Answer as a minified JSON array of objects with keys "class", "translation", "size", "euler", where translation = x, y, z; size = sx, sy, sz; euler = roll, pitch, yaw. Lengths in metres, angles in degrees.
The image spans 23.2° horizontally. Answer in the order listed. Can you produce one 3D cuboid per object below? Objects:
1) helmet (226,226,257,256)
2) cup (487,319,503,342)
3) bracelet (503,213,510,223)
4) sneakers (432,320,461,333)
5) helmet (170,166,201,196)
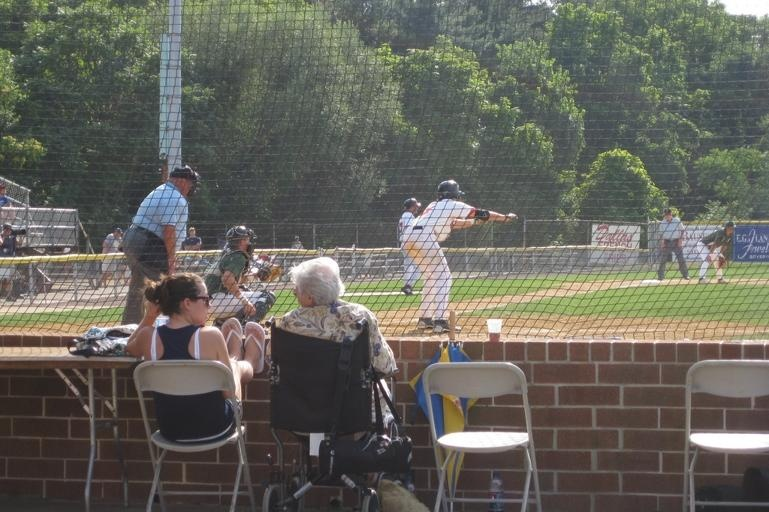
[{"class":"helmet","translation":[-1.529,-0.167,20.339],"size":[0.342,0.282,0.272],"euler":[-3,10,-45]},{"class":"cup","translation":[1.121,0.797,19.055],"size":[0.203,0.202,0.194],"euler":[1,-21,0]},{"class":"bracelet","translation":[1.327,-0.382,20.160],"size":[0.017,0.067,0.075],"euler":[9,-8,-33]},{"class":"sneakers","translation":[0.760,0.839,21.429],"size":[0.418,0.171,0.139],"euler":[-3,-4,22]},{"class":"helmet","translation":[-2.094,-0.799,19.719],"size":[0.261,0.313,0.333],"euler":[12,13,35]}]
